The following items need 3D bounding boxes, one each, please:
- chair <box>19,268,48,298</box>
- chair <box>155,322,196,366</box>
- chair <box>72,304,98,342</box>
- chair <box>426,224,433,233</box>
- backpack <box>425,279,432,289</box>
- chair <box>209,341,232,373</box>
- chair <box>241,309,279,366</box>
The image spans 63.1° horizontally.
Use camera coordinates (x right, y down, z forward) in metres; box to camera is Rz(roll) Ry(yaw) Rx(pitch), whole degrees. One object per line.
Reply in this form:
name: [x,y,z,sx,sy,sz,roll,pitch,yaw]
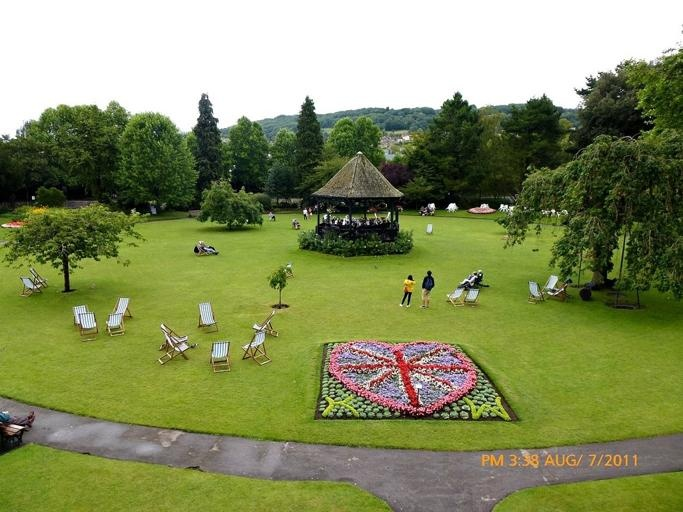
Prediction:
chair: [-17.293,1.502,30.724,1.063,1.470,2.143,2,8,-9]
chair: [-6.834,3.533,22.687,1.620,1.707,1.213,1,14,-29]
chair: [-11.163,2.887,24.617,0.957,1.148,1.813,2,25,-33]
chair: [8.345,-2.236,52.720,0.415,0.741,1.621,-1,2,-5]
backpack: [4.283,1.479,27.473,0.429,0.616,0.325,-1,6,-10]
chair: [-4.663,3.814,21.454,0.767,1.135,0.928,-3,11,-14]
chair: [-3.352,3.485,23.268,1.716,2.333,1.336,1,5,34]
